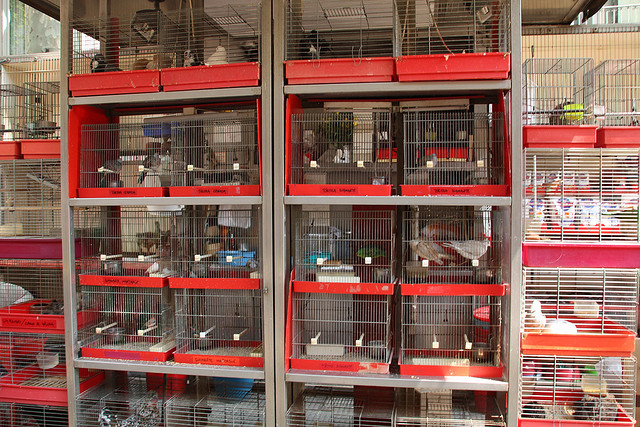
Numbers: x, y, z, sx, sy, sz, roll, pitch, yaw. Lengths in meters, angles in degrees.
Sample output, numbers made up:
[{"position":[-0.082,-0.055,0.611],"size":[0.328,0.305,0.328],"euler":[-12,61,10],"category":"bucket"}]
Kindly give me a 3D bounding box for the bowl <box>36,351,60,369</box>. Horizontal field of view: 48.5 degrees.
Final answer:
[{"position":[-2.343,1.254,6.095],"size":[0.185,0.129,0.132],"euler":[1,83,-5],"category":"bowl"}]

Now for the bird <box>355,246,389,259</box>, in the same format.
[{"position":[0.412,0.317,5.736],"size":[0.275,0.085,0.085],"euler":[0,89,6],"category":"bird"}]

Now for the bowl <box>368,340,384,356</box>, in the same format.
[{"position":[0.440,1.078,5.726],"size":[0.114,0.118,0.093],"euler":[3,86,-41],"category":"bowl"}]

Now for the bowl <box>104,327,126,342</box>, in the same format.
[{"position":[-1.718,1.008,5.956],"size":[0.137,0.122,0.070],"euler":[-1,88,-2],"category":"bowl"}]

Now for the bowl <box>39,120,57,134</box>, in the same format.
[{"position":[-2.497,-0.783,6.491],"size":[0.112,0.116,0.084],"euler":[0,86,11],"category":"bowl"}]

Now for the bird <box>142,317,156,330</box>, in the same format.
[{"position":[-1.432,0.919,5.936],"size":[0.126,0.032,0.092],"euler":[0,98,-11],"category":"bird"}]

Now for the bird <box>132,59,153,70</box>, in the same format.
[{"position":[-1.533,-1.268,6.094],"size":[0.113,0.094,0.103],"euler":[-1,78,5],"category":"bird"}]
